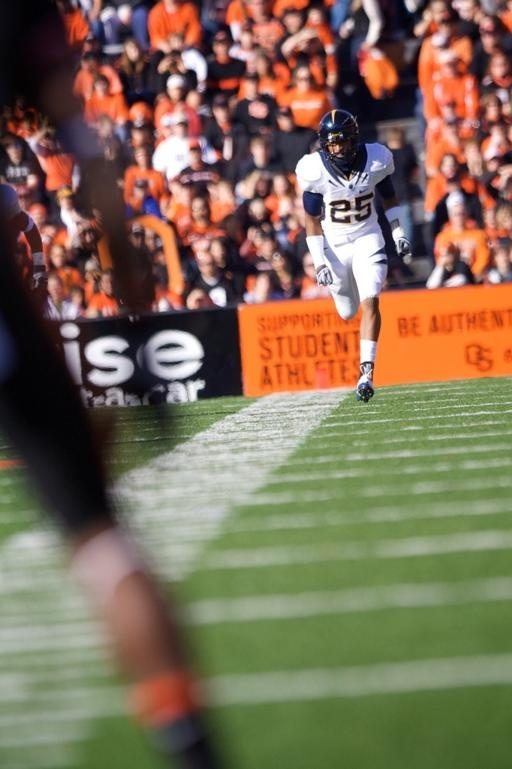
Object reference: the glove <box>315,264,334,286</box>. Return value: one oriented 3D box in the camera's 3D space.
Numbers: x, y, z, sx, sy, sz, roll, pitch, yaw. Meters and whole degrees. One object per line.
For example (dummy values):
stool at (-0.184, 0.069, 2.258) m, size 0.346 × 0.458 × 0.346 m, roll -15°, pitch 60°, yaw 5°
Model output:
glove at (0.487, -0.788, 5.690) m, size 0.119 × 0.157 × 0.068 m, roll 14°, pitch 61°, yaw 17°

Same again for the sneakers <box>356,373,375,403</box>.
sneakers at (0.738, 0.029, 5.316) m, size 0.089 × 0.217 × 0.107 m, roll 5°, pitch 4°, yaw 10°

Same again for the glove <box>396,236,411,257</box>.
glove at (1.083, -1.073, 5.834) m, size 0.103 × 0.211 × 0.321 m, roll -6°, pitch 6°, yaw 10°

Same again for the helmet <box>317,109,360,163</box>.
helmet at (0.576, -1.768, 5.515) m, size 0.267 × 0.365 × 0.263 m, roll -6°, pitch 6°, yaw 6°

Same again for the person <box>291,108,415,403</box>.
person at (0.747, -0.953, 5.778) m, size 0.740 × 2.064 × 0.992 m, roll -7°, pitch 6°, yaw 5°
